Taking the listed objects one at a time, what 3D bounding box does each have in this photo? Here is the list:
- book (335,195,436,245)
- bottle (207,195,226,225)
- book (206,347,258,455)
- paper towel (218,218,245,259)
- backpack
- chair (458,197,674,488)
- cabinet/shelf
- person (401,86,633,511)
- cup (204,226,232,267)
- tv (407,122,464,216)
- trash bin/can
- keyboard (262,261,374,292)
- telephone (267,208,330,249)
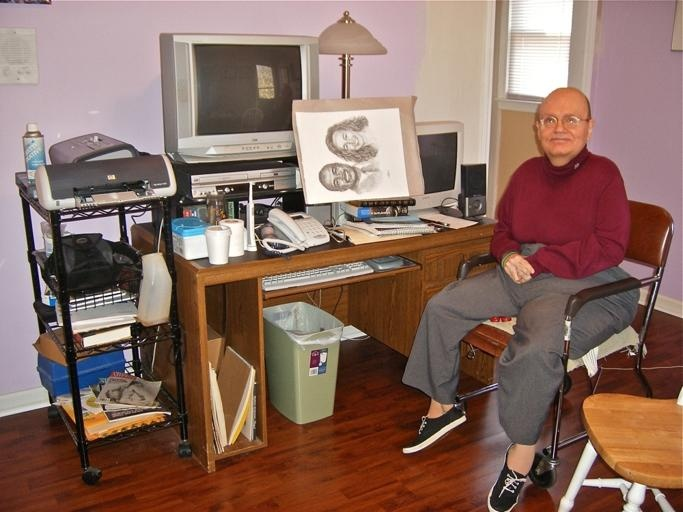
[{"bbox_3d":[0.222,-0.173,2.589,0.304,0.105,0.302,-8,16,-29],"label":"book"},{"bbox_3d":[-0.557,-0.210,2.402,0.086,0.162,0.087,2,18,-1],"label":"bottle"},{"bbox_3d":[-0.483,0.634,2.404,0.126,0.393,0.289,2,-2,-20],"label":"book"},{"bbox_3d":[-0.435,-0.070,2.230,0.091,0.160,0.157,0,15,-8],"label":"paper towel"},{"bbox_3d":[-0.986,0.025,2.152,0.251,0.122,0.325,14,17,31],"label":"backpack"},{"bbox_3d":[0.918,0.198,2.971,1.179,1.681,1.027,-8,15,-28],"label":"chair"},{"bbox_3d":[-0.988,0.236,2.369,0.664,1.305,0.591,-12,15,-25],"label":"cabinet/shelf"},{"bbox_3d":[0.758,0.120,2.308,0.885,1.595,0.649,-14,16,-31],"label":"person"},{"bbox_3d":[-0.491,-0.044,2.223,0.135,0.167,0.135,0,17,0],"label":"cup"},{"bbox_3d":[0.489,-0.469,2.817,0.381,0.394,0.209,-20,30,-34],"label":"tv"},{"bbox_3d":[-0.195,0.529,2.589,0.298,0.448,0.444,-8,19,-33],"label":"trash bin/can"},{"bbox_3d":[-0.103,0.087,2.450,0.539,0.061,0.115,-10,14,-19],"label":"keyboard"},{"bbox_3d":[-0.188,-0.136,2.433,0.210,0.167,0.239,-13,15,-29],"label":"telephone"}]
